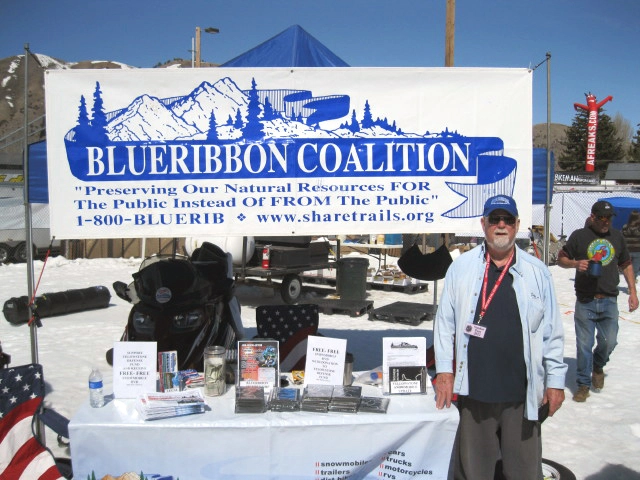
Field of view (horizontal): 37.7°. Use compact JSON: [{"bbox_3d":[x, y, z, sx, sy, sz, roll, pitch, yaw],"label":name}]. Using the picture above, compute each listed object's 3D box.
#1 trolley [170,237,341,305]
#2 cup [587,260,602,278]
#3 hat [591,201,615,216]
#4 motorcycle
[{"bbox_3d":[-0.770,0.248,16.068,1.278,1.249,1.851,4,9,38],"label":"trolley"},{"bbox_3d":[3.174,0.324,10.883,0.126,0.186,0.123,0,-2,0],"label":"cup"},{"bbox_3d":[3.270,-0.373,10.927,0.157,0.139,0.229,0,0,8],"label":"hat"},{"bbox_3d":[-1.633,1.046,11.722,1.500,1.795,3.049,-6,-2,4],"label":"motorcycle"}]
